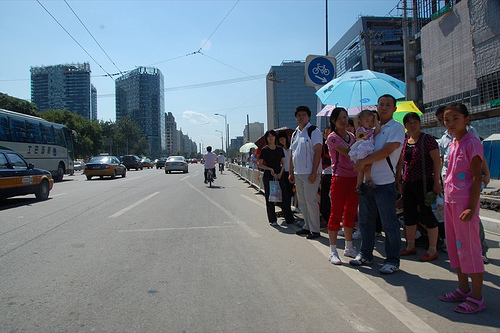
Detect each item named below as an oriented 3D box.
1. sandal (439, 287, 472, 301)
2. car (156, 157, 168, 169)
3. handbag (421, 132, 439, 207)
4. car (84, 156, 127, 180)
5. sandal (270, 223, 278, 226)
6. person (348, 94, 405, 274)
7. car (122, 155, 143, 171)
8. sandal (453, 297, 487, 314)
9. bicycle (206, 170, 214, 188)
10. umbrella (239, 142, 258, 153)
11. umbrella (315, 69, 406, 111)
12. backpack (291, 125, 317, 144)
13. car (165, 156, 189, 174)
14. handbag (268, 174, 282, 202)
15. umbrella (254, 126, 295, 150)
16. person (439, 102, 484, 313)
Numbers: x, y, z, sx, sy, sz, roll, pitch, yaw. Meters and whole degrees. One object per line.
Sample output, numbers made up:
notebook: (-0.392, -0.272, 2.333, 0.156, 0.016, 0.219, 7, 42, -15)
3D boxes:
sandal: (3.003, 1.882, 5.193, 0.445, 0.212, 0.181, 1, -9, -2)
car: (-11.580, -0.402, 46.130, 1.467, 1.347, 2.739, 0, 6, -5)
handbag: (3.361, 0.077, 6.534, 0.332, 1.386, 0.604, 2, 6, 22)
car: (-10.370, 0.100, 25.394, 1.607, 1.608, 2.913, 1, 6, 12)
sandal: (0.608, 1.492, 8.982, 0.199, 0.057, 0.145, 0, 6, 3)
person: (2.264, 0.283, 6.142, 0.764, 3.066, 0.558, 3, 6, 26)
car: (-14.140, -0.538, 42.705, 1.255, 1.274, 2.845, 0, 6, -2)
sandal: (3.114, 1.986, 4.988, 0.389, 0.188, 0.191, 0, -8, -8)
bicycle: (-2.100, 0.634, 18.541, 0.359, 0.886, 0.997, 0, 6, -5)
umbrella: (0.095, -1.721, 29.496, 1.052, 0.520, 1.188, -3, -1, -14)
umbrella: (2.611, -1.812, 8.537, 1.298, 0.947, 1.384, 1, -3, -25)
backpack: (1.171, -0.703, 7.771, 0.601, 0.415, 0.176, 6, 8, 44)
car: (-6.888, -0.063, 32.824, 1.862, 1.485, 3.005, -1, 6, -9)
handbag: (0.633, 0.658, 8.950, 0.352, 0.547, 0.289, 0, 5, 4)
umbrella: (1.004, -1.202, 16.842, 1.372, 0.820, 1.516, 2, -15, -24)
person: (3.090, 0.549, 5.118, 0.600, 2.935, 0.793, 3, 6, 31)
